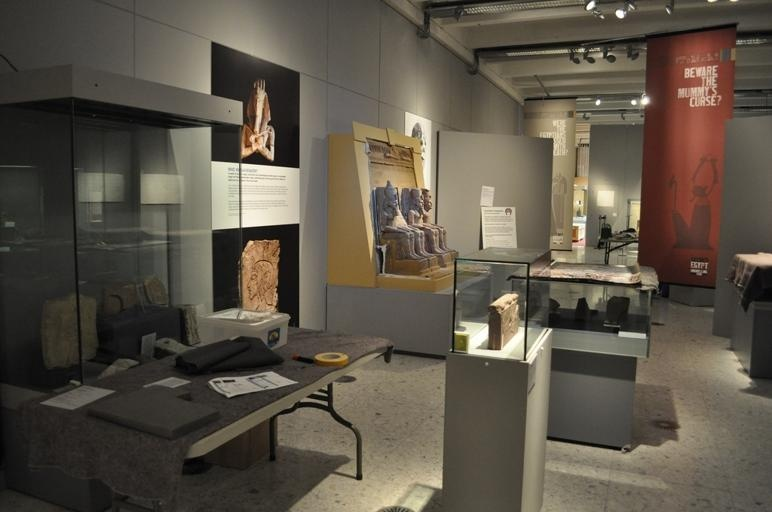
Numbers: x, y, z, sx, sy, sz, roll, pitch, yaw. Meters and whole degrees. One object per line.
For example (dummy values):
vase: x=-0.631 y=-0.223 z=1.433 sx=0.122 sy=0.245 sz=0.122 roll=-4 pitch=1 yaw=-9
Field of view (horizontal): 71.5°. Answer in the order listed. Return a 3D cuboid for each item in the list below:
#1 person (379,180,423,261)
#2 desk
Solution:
person: x=0.176 y=-0.434 z=6.840 sx=0.536 sy=1.020 sz=1.020 roll=0 pitch=4 yaw=19
desk: x=-1.085 y=0.921 z=3.314 sx=1.810 sy=0.588 sz=0.978 roll=-6 pitch=7 yaw=-43
